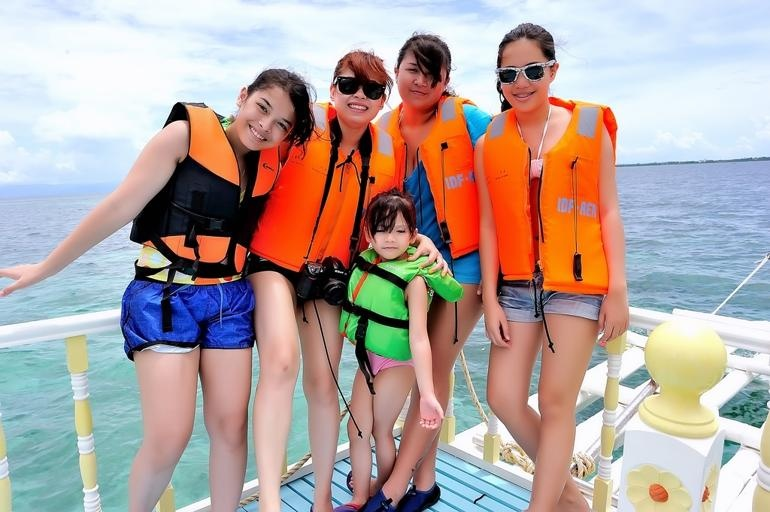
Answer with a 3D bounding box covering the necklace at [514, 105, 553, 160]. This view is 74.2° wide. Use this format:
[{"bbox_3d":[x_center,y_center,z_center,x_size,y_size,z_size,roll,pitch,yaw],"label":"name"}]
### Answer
[{"bbox_3d":[1.157,-0.906,3.759,0.262,0.328,0.081,7,-20,4],"label":"necklace"}]
